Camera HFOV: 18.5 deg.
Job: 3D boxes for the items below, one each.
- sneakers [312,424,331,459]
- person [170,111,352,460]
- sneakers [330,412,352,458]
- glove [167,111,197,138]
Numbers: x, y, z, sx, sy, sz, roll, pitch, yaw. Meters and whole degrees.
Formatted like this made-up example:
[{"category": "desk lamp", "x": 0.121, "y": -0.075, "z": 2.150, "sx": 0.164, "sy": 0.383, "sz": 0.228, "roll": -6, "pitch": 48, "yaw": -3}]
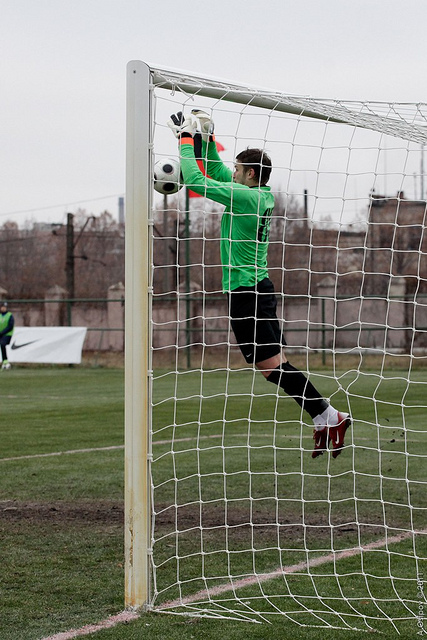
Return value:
[{"category": "sneakers", "x": 0.599, "y": 0.676, "z": 7.501, "sx": 0.087, "sy": 0.225, "sz": 0.071, "roll": 2, "pitch": 15, "yaw": 1}, {"category": "person", "x": 0.224, "y": -0.172, "z": 7.369, "sx": 1.030, "sy": 1.925, "sz": 0.534, "roll": -1, "pitch": 3, "yaw": -21}, {"category": "sneakers", "x": 0.728, "y": 0.659, "z": 7.488, "sx": 0.117, "sy": 0.302, "sz": 0.095, "roll": 2, "pitch": 6, "yaw": 2}, {"category": "glove", "x": -0.170, "y": -1.045, "z": 7.032, "sx": 0.150, "sy": 0.139, "sz": 0.241, "roll": 0, "pitch": 3, "yaw": -5}]
